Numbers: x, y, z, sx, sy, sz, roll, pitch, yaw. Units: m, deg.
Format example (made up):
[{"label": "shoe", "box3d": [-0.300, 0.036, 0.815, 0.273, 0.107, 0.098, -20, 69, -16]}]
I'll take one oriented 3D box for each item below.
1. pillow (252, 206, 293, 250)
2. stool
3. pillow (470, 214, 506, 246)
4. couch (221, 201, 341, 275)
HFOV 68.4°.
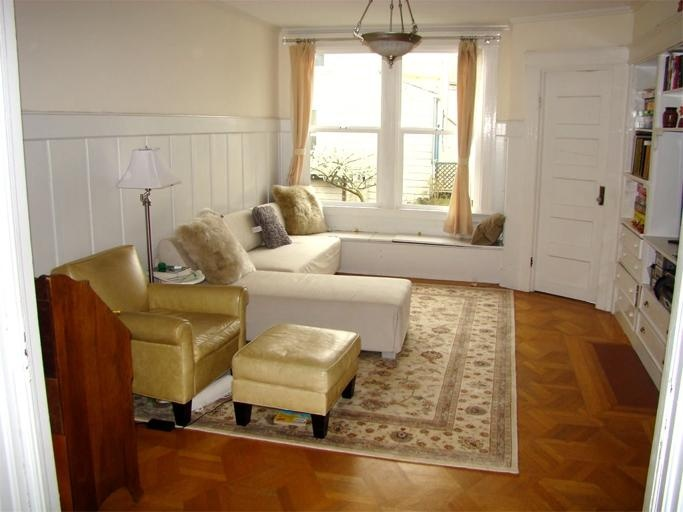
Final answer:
[{"label": "pillow", "box3d": [-0.799, -0.327, 5.601, 0.148, 0.466, 0.460, -29, -13, 27]}, {"label": "stool", "box3d": [-0.284, 0.766, 3.271, 0.665, 0.493, 0.659, 5, 14, 17]}, {"label": "pillow", "box3d": [1.724, -0.314, 5.916, 0.355, 0.363, 0.235, 4, 14, 14]}, {"label": "couch", "box3d": [-0.642, -0.041, 5.331, 0.704, 0.712, 1.310, 3, 18, 14]}]
